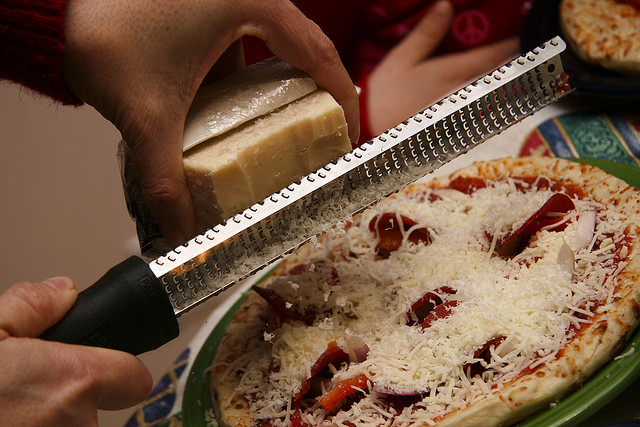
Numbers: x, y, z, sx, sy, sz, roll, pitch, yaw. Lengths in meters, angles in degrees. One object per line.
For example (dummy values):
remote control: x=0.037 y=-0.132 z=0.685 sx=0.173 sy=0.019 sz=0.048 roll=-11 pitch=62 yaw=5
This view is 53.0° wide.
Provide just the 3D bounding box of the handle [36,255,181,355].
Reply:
handle: x=-0.794 y=0.418 z=2.532 sx=0.507 sy=0.225 sz=0.299 roll=-30 pitch=86 yaw=-11
